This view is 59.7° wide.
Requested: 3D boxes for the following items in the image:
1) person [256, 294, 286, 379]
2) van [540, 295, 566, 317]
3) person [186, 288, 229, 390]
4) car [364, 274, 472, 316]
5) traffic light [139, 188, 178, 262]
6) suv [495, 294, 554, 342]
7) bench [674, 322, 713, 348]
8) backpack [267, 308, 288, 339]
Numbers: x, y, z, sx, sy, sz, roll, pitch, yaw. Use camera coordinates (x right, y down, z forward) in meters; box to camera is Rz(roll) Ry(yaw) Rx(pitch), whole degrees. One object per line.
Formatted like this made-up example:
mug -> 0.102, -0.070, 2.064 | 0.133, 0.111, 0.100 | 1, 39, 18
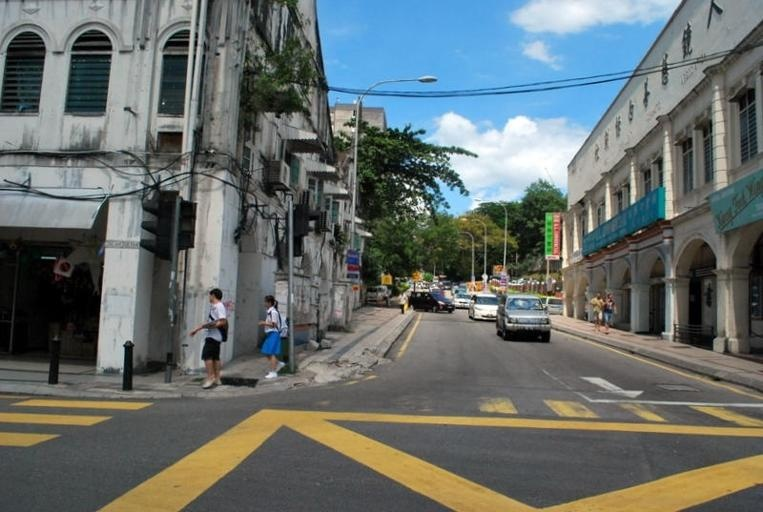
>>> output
person -> -3.034, 2.182, 18.352 | 0.599, 2.151, 1.068 | 1, 4, -1
van -> 13.430, 3.973, 51.790 | 1.567, 1.474, 2.754 | 1, 2, 15
person -> -4.492, 2.114, 17.467 | 1.134, 2.481, 0.847 | 0, 0, -19
car -> 3.001, 3.514, 52.836 | 5.247, 2.777, 3.848 | -2, -2, 14
traffic light -> -5.962, -0.842, 18.100 | 1.138, 2.912, 0.920 | 1, 1, 7
suv -> 6.346, 2.652, 29.924 | 2.031, 1.992, 4.243 | 1, -1, 4
bench -> 13.166, 3.249, 27.705 | 1.049, 0.705, 1.080 | 1, -1, -11
backpack -> -2.958, 1.944, 18.925 | 0.694, 0.757, 0.494 | 0, 3, -9
